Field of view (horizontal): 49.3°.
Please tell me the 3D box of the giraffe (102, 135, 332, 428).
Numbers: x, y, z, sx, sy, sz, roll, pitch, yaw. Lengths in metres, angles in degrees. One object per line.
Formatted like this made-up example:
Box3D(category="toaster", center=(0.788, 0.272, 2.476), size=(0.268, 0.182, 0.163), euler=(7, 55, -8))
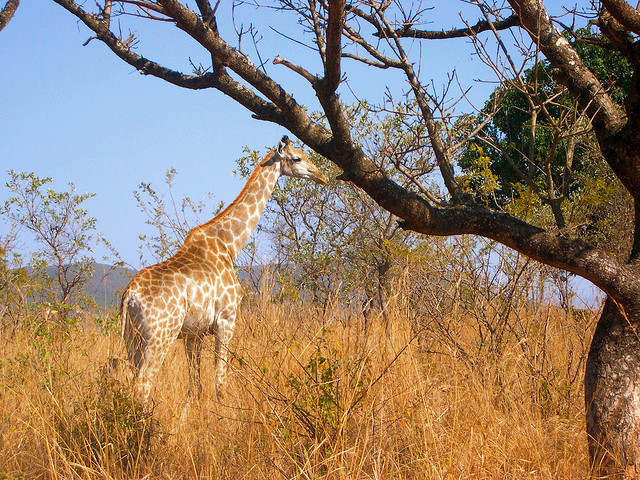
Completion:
Box3D(category="giraffe", center=(-1.488, 0.428, 8.802), size=(1.587, 4.112, 2.620), euler=(-25, -28, 34))
